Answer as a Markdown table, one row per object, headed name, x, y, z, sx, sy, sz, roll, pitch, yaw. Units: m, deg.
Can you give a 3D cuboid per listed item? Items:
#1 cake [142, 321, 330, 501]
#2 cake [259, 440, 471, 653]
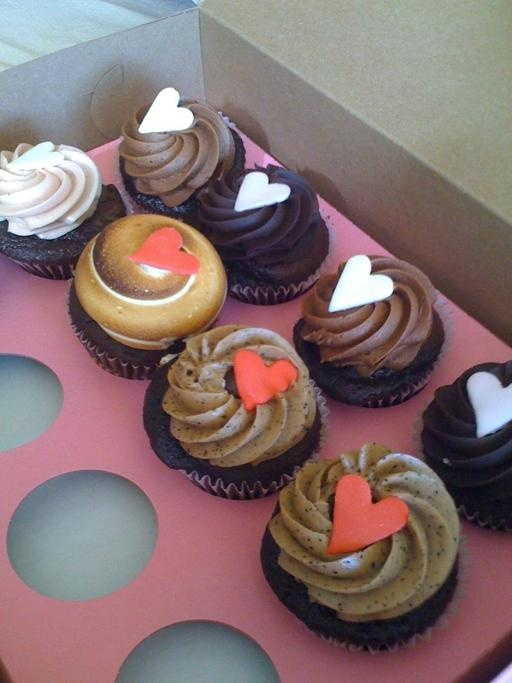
| name | x | y | z | sx | sy | sz | roll | pitch | yaw |
| --- | --- | --- | --- | --- | --- | --- | --- | --- | --- |
| cake | -0.089 | 0.262 | 2.591 | 0.687 | 0.564 | 0.527 | 14 | 49 | 9 |
| cake | 0.353 | 0.659 | 2.244 | 0.641 | 0.450 | 0.570 | 34 | 53 | 25 |
